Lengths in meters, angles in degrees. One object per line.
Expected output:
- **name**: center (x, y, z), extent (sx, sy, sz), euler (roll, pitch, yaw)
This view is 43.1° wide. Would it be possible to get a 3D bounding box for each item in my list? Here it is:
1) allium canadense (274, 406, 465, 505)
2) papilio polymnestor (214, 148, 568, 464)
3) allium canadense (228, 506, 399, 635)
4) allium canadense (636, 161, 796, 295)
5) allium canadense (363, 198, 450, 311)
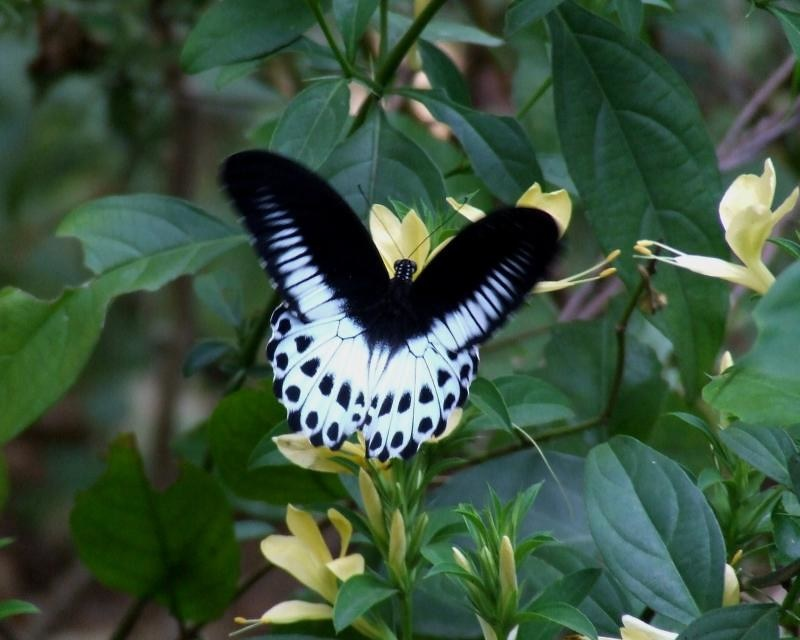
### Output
- **allium canadense**: center (-0.032, 0.115, 0.992), extent (0.180, 0.078, 0.053), euler (7, -6, 14)
- **papilio polymnestor**: center (0.012, -0.076, 1.026), extent (0.309, 0.306, 0.317), euler (-1, 16, 7)
- **allium canadense**: center (-0.074, 0.255, 1.014), extent (0.151, 0.137, 0.156), euler (7, -7, 0)
- **allium canadense**: center (0.311, -0.078, 0.989), extent (0.111, 0.164, 0.133), euler (8, 22, 18)
- **allium canadense**: center (0.009, -0.067, 0.985), extent (0.049, 0.077, 0.061), euler (-1, 19, -8)
